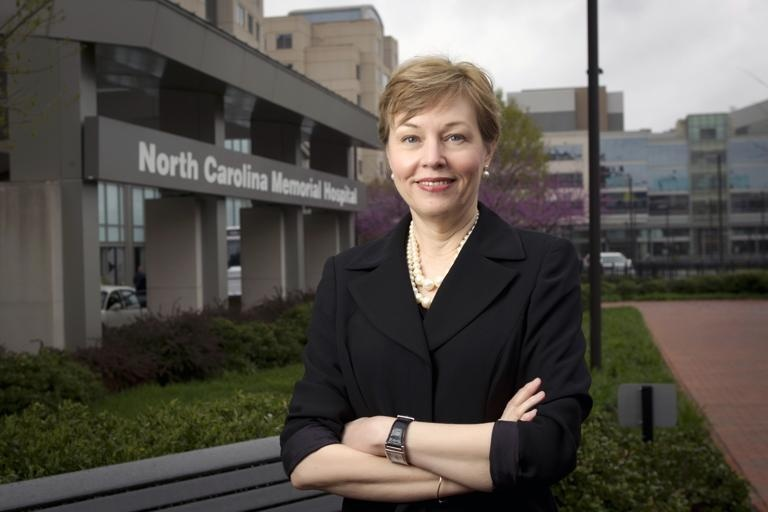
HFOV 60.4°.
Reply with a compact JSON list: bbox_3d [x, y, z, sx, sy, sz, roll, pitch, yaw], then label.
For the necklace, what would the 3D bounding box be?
[{"bbox_3d":[0.240,0.083,3.700,0.307,0.615,0.142,2,-11,13],"label":"necklace"}]
